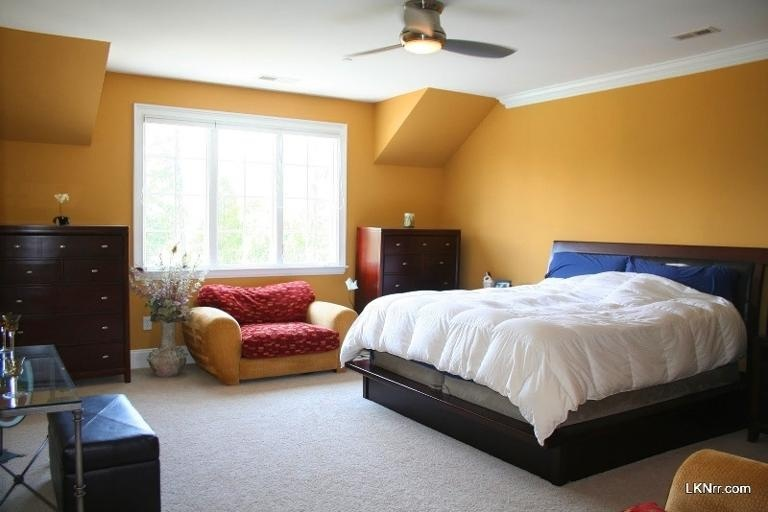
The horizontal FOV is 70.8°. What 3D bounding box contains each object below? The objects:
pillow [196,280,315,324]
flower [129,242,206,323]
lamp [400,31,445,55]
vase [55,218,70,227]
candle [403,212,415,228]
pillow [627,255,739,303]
[{"bbox_3d":[-1.500,0.491,6.404,1.006,0.305,0.571,3,1,-33],"label":"pillow"},{"bbox_3d":[-2.435,0.367,6.149,0.866,0.715,0.774,4,-7,29],"label":"flower"},{"bbox_3d":[0.312,-1.648,4.182,0.356,0.118,0.212,1,10,2],"label":"lamp"},{"bbox_3d":[-3.376,-0.359,5.611,0.146,0.105,0.143,-1,6,-4],"label":"vase"},{"bbox_3d":[0.340,-0.482,7.283,0.205,0.218,0.201,0,-3,-4],"label":"candle"},{"bbox_3d":[2.905,0.203,5.480,0.845,0.172,0.797,16,6,4],"label":"pillow"}]
